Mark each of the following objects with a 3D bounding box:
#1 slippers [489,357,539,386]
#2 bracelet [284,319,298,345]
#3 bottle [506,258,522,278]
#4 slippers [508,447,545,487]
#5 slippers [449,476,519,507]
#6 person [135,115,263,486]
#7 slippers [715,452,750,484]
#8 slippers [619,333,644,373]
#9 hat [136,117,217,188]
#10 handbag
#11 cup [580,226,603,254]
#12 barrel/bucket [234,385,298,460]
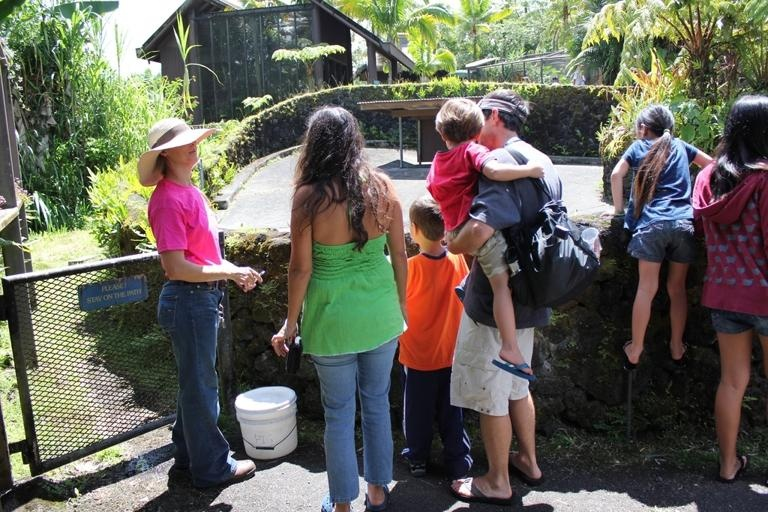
[{"bbox_3d":[0.999,0.863,4.907,0.293,0.093,0.159,27,-7,0],"label":"slippers"},{"bbox_3d":[-0.703,0.606,4.983,0.062,0.182,0.133,18,21,15],"label":"bracelet"},{"bbox_3d":[0.981,0.079,4.811,0.081,0.149,0.084,-25,-1,0],"label":"bottle"},{"bbox_3d":[1.172,1.796,5.350,0.141,0.137,0.390,-8,10,-21],"label":"slippers"},{"bbox_3d":[0.795,1.905,5.158,0.401,0.135,0.224,6,5,20],"label":"slippers"},{"bbox_3d":[-1.520,0.407,5.234,0.793,3.028,0.506,-3,10,-6],"label":"person"},{"bbox_3d":[2.933,1.787,5.342,0.139,0.096,0.392,-27,13,46],"label":"slippers"},{"bbox_3d":[2.218,0.890,5.800,0.101,0.370,0.138,0,0,13],"label":"slippers"},{"bbox_3d":[-1.677,-0.845,5.127,0.564,0.527,0.340,-6,11,-20],"label":"hat"},{"bbox_3d":[1.262,0.013,4.924,0.687,0.627,0.365,33,-5,-41],"label":"handbag"},{"bbox_3d":[1.687,-0.129,5.212,0.098,0.201,0.149,-21,24,1],"label":"cup"},{"bbox_3d":[-1.047,1.476,5.660,0.534,0.513,0.552,-3,7,0],"label":"barrel/bucket"}]
